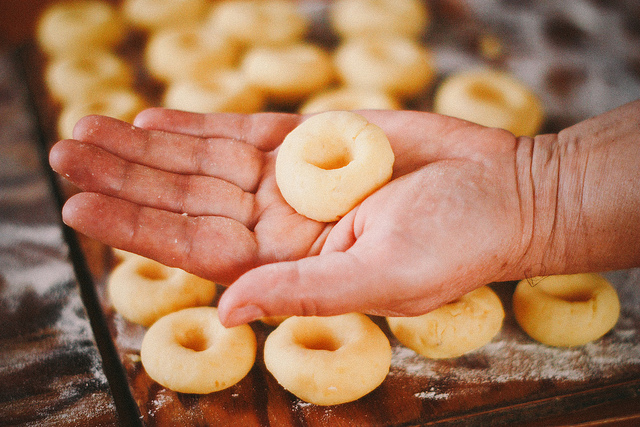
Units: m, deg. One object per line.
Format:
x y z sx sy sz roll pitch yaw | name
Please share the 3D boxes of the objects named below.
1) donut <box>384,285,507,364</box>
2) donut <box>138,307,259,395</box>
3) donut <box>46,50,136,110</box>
0.408 0.349 2.348 0.361 0.092 0.415 6 27 27 | donut
-0.381 0.429 2.215 0.361 0.080 0.283 5 63 0 | donut
-0.921 -0.643 3.064 0.382 0.397 0.149 12 102 -9 | donut
